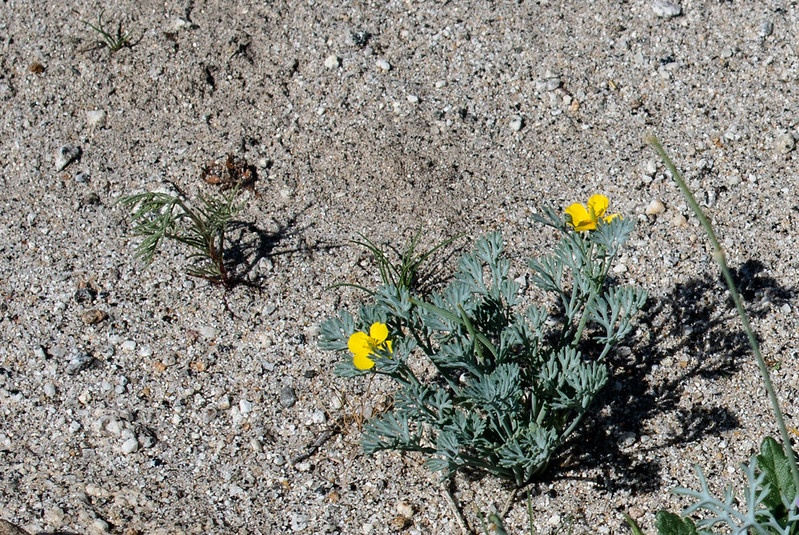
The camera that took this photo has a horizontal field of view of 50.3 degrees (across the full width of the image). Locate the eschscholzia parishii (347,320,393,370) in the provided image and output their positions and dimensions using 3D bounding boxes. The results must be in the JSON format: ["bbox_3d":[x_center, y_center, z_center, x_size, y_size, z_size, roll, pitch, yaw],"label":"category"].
[{"bbox_3d":[-0.143,0.382,4.095,0.284,0.214,0.093,-14,97,46],"label":"eschscholzia parishii"}]
